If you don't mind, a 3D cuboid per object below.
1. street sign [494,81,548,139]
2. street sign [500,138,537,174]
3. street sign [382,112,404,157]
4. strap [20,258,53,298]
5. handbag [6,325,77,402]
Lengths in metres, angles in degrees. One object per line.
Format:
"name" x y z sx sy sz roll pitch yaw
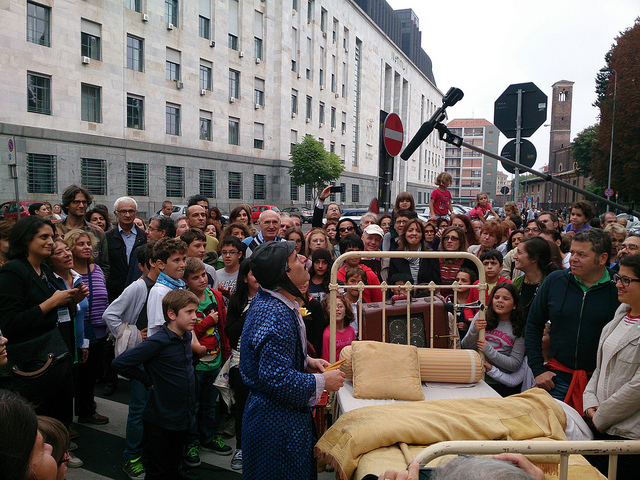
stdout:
"street sign" 3.129 -2.059 9.354 0.800 0.896 0.071 -1 32 15
"street sign" 3.135 -1.322 9.384 0.600 0.563 0.623 6 5 39
"street sign" 1.064 -1.550 8.762 0.057 0.645 0.647 3 1 36
"strap" -2.957 0.370 6.267 0.283 0.140 0.386 -36 -4 -8
"handbag" -2.845 1.260 6.206 0.789 0.789 0.305 -11 -1 -35
